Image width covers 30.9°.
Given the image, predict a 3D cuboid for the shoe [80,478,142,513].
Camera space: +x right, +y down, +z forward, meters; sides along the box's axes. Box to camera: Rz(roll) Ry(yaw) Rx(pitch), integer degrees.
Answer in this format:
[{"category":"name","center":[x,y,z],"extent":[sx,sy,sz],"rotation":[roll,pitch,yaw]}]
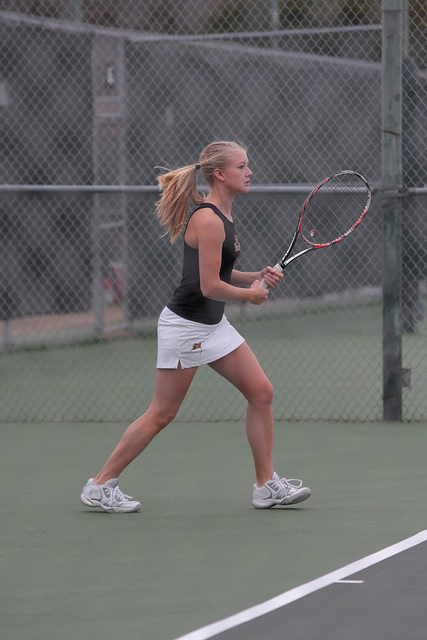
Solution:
[{"category":"shoe","center":[-0.457,0.774,3.366],"extent":[0.387,0.131,0.139],"rotation":[0,3,3]}]

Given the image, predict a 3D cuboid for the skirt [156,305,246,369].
[{"category":"skirt","center":[-0.033,0.090,3.329],"extent":[0.501,0.280,0.249],"rotation":[-2,-1,-34]}]

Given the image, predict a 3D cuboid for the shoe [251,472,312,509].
[{"category":"shoe","center":[0.287,0.762,3.407],"extent":[0.311,0.157,0.120],"rotation":[-5,-11,8]}]
